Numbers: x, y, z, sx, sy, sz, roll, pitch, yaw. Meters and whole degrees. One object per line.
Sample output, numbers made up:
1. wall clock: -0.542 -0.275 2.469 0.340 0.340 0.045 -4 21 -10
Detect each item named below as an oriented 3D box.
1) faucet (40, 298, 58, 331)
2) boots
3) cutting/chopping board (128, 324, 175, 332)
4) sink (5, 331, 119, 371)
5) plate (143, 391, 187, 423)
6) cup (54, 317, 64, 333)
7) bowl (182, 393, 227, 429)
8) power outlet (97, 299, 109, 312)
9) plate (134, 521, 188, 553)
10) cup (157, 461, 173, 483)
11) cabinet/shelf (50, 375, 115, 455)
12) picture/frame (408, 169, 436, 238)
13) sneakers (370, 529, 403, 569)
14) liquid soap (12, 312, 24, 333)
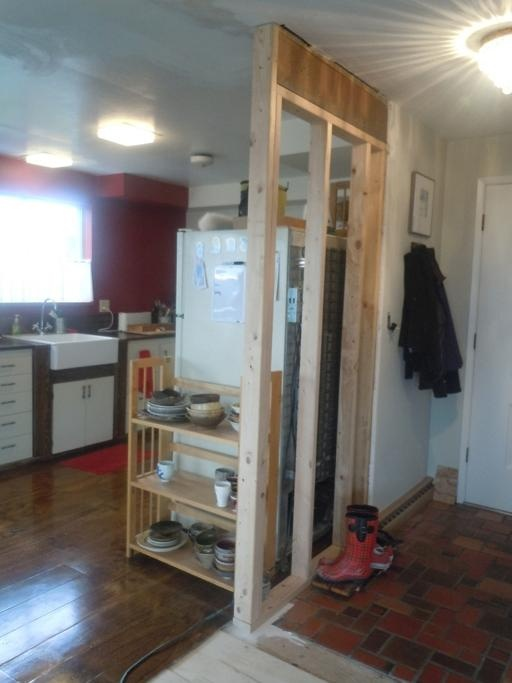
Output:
1. faucet: -1.770 -0.220 4.822 0.139 0.274 0.218 1 4 -20
2. boots: 0.413 0.897 2.568 0.366 0.361 0.194 -1 1 -22
3. cutting/chopping board: -1.016 -0.133 5.446 0.399 0.072 0.480 2 4 1
4. sink: -1.367 0.063 4.349 0.415 0.141 0.420 8 8 33
5. plate: -0.406 0.288 2.574 0.153 0.076 0.156 1 5 7
6. cup: -1.658 -0.141 4.781 0.076 0.133 0.074 2 4 0
7. bowl: -0.221 0.296 2.451 0.133 0.088 0.151 -1 0 1
8. power outlet: -1.452 -0.349 5.344 0.049 0.100 0.110 7 8 31
9. plate: -0.433 0.901 2.619 0.217 0.089 0.219 0 5 -29
10. cup: -0.418 0.602 2.651 0.088 0.099 0.086 1 -1 0
11. cabinet/shelf: -1.356 0.557 4.337 0.224 0.567 0.602 1 3 27
12. picture/frame: 0.920 -0.783 3.162 0.037 0.390 0.372 3 14 32
13. sneakers: 0.613 0.971 2.617 0.104 0.131 0.236 -7 -12 21
14. liquid soap: -1.921 -0.139 4.532 0.068 0.156 0.145 0 4 -26
